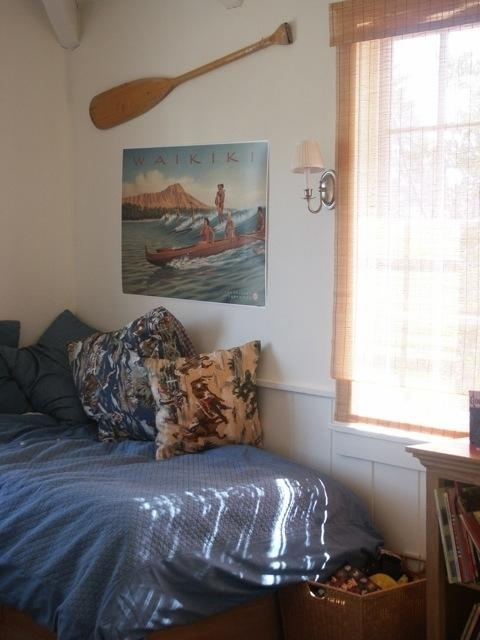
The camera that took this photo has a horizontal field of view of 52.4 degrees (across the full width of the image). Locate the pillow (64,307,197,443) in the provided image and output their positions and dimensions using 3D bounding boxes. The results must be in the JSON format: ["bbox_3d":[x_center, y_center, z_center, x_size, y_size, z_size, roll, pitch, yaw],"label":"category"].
[{"bbox_3d":[-0.465,0.262,2.136,0.520,0.558,0.160,-30,-24,33],"label":"pillow"}]

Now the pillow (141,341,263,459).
[{"bbox_3d":[-0.122,0.310,1.914,0.434,0.467,0.170,-7,8,-9],"label":"pillow"}]

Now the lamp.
[{"bbox_3d":[0.257,-0.484,1.677,0.137,0.237,0.109,2,9,2],"label":"lamp"}]
